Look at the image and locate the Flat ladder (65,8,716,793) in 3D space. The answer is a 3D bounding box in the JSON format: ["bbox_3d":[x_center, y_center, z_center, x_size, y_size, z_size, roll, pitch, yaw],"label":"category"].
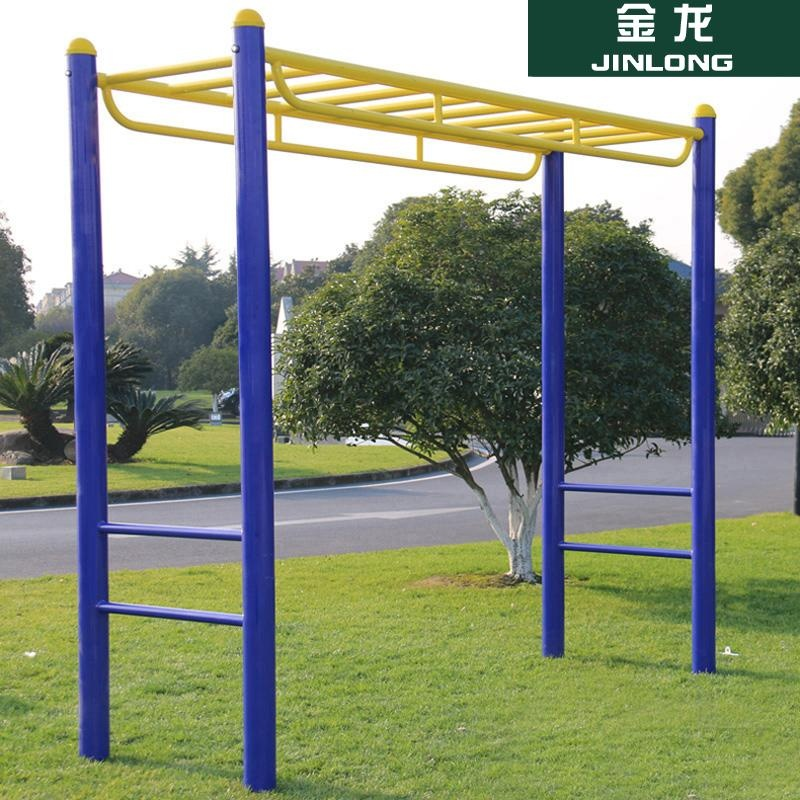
[{"bbox_3d":[0.087,0.525,12.934,1.507,4.732,4.853,-1,-1,31],"label":"Flat ladder"}]
